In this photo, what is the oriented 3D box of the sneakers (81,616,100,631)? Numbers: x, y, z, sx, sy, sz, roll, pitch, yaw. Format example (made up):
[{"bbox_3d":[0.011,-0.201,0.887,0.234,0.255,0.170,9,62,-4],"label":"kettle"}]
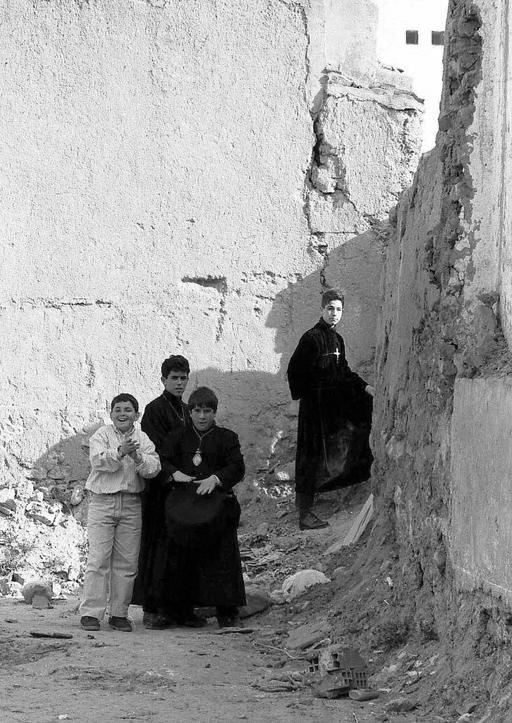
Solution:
[{"bbox_3d":[-0.912,1.429,7.166,0.101,0.078,0.177,-4,3,-8],"label":"sneakers"}]

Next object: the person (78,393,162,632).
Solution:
[{"bbox_3d":[-0.770,0.841,7.356,0.426,1.308,0.590,-2,4,10],"label":"person"}]

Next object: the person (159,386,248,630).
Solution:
[{"bbox_3d":[-0.327,0.849,7.636,0.527,1.382,0.489,-3,3,-2],"label":"person"}]

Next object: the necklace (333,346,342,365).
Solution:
[{"bbox_3d":[0.596,-0.039,9.604,0.110,0.153,0.014,13,-23,-43],"label":"necklace"}]

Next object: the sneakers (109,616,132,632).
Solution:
[{"bbox_3d":[-0.761,1.461,7.337,0.144,0.070,0.056,-3,-3,33],"label":"sneakers"}]
